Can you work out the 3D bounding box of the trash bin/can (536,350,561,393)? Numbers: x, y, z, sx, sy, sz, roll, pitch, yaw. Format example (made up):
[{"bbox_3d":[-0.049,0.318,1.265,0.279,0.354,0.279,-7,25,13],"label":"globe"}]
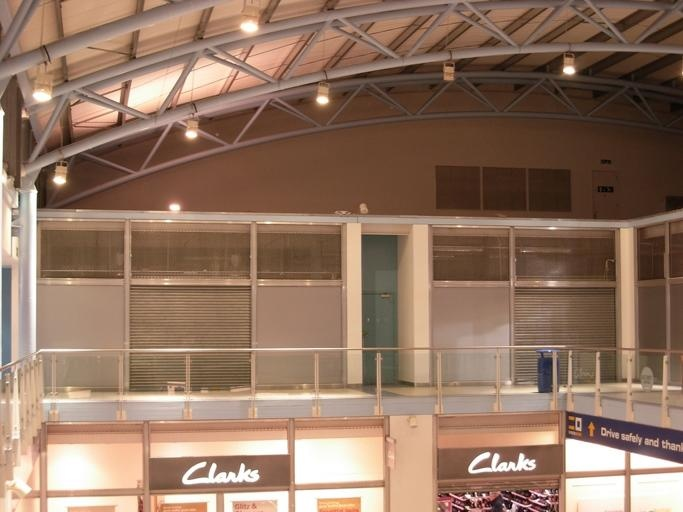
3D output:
[{"bbox_3d":[4.436,2.625,18.120,0.555,0.898,0.580,0,0,40],"label":"trash bin/can"}]
